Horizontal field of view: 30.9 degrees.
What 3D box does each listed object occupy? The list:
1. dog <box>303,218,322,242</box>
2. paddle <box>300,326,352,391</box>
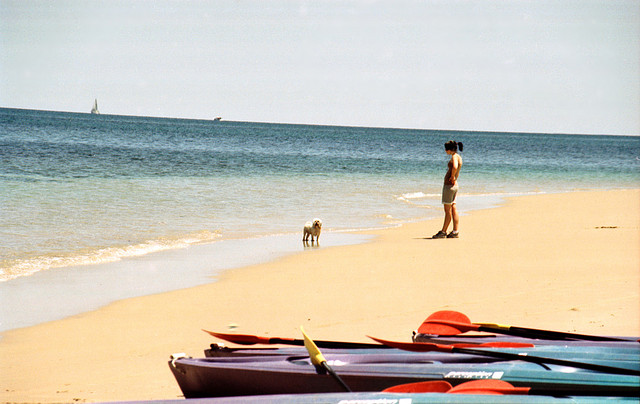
[{"bbox_3d":[-0.277,0.996,40.479,0.697,0.811,0.369,3,16,15],"label":"dog"},{"bbox_3d":[0.184,4.601,33.331,0.335,2.310,0.397,-47,3,-2],"label":"paddle"}]
